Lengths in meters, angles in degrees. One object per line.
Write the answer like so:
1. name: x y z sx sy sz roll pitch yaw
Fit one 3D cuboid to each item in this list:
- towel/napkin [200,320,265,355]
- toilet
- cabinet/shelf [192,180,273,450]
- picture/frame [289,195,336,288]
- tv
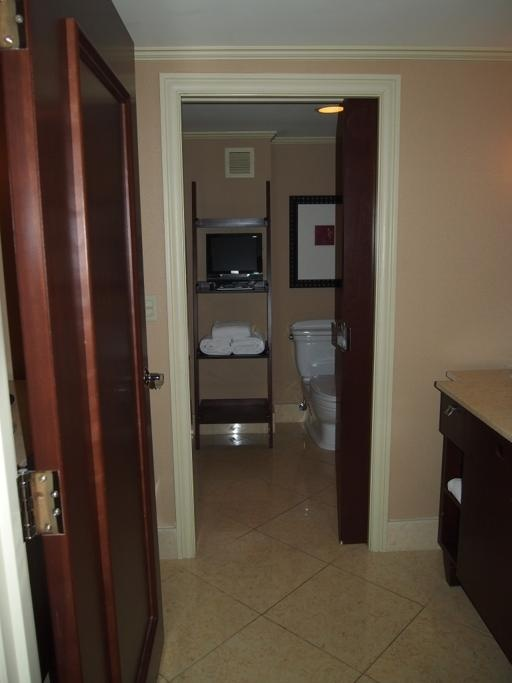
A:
1. towel/napkin: -0.164 -0.009 3.531 0.427 0.206 0.162 -1 7 1
2. toilet: 0.374 0.289 3.636 0.291 0.803 0.769 0 8 4
3. cabinet/shelf: -0.161 -0.183 3.658 0.568 1.770 0.652 -2 7 -8
4. picture/frame: 0.401 -0.719 3.908 0.330 0.660 0.129 1 7 17
5. tv: -0.179 -0.471 3.739 0.471 0.525 0.276 0 4 -1
